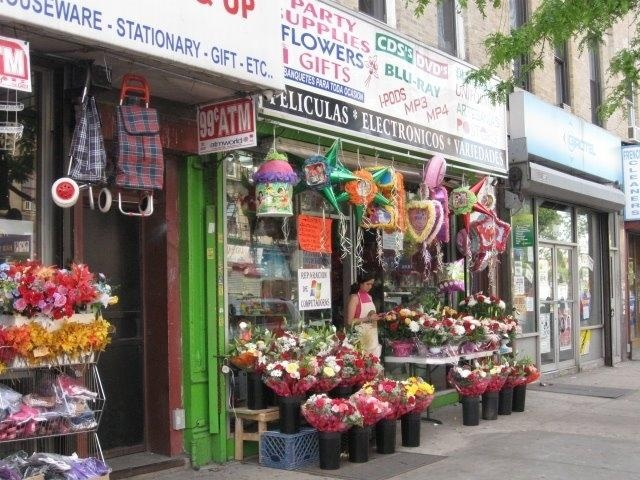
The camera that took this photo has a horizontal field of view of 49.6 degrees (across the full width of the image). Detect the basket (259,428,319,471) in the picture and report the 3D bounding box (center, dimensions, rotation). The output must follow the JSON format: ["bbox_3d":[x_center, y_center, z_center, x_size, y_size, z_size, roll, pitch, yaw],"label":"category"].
[{"bbox_3d":[-0.331,2.217,7.397,0.631,0.368,0.300,1,-2,-4],"label":"basket"}]
